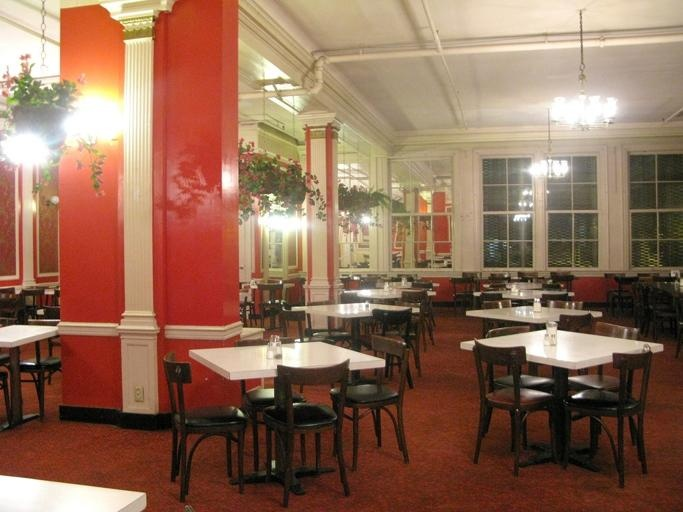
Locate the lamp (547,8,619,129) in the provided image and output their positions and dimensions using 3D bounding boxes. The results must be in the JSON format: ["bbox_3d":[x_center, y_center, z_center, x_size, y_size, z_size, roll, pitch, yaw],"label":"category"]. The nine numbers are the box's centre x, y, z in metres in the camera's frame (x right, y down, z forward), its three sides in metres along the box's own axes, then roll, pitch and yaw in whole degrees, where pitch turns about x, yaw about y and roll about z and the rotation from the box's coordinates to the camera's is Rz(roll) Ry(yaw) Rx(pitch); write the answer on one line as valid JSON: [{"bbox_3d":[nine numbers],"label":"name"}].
[{"bbox_3d":[3.904,-2.742,9.172,0.966,1.450,3.611,3,8,24],"label":"lamp"}]

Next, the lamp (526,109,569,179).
[{"bbox_3d":[4.434,-2.388,12.169,0.782,1.599,0.763,1,-11,12],"label":"lamp"}]

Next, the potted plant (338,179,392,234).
[{"bbox_3d":[0.394,-1.107,12.166,0.931,0.930,1.793,0,7,0],"label":"potted plant"}]
